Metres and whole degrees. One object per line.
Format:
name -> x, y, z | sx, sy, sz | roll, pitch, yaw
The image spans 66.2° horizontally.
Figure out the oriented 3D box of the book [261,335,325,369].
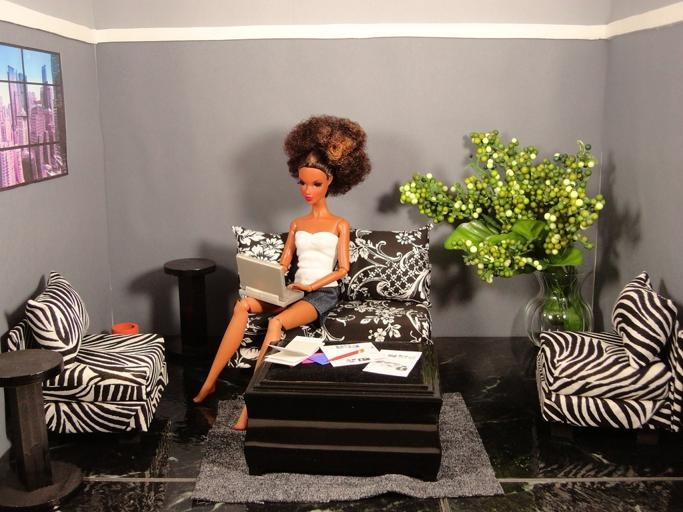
book -> -0.312, 0.603, 3.342 | 0.330, 0.066, 0.390 | 4, 12, 24
